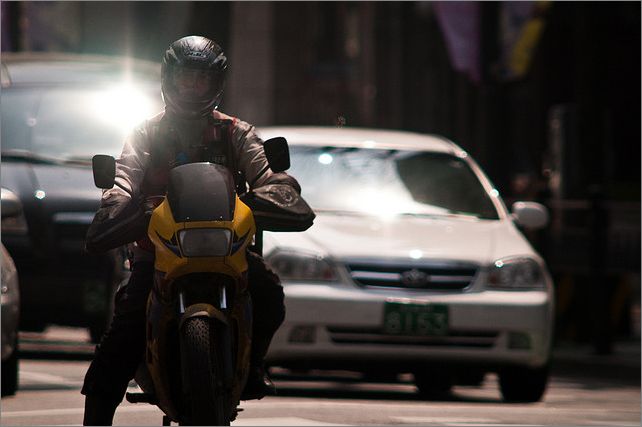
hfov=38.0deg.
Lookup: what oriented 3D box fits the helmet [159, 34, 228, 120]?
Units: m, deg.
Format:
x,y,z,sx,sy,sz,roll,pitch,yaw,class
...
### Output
x,y,z,sx,sy,sz,roll,pitch,yaw,class
-0.702,-0.771,5.230,0.349,0.415,0.444,5,18,-6,helmet
